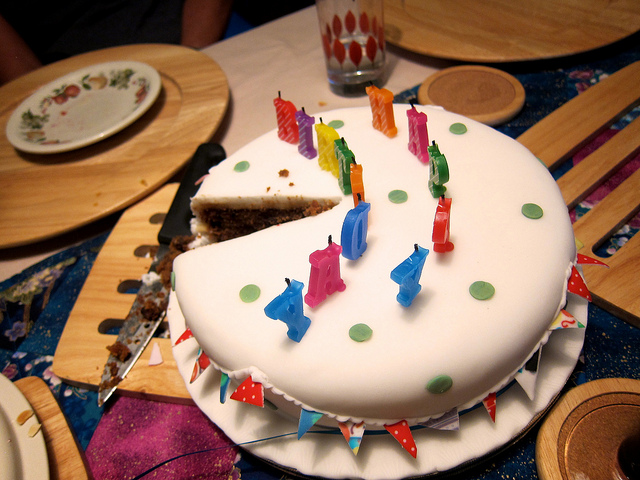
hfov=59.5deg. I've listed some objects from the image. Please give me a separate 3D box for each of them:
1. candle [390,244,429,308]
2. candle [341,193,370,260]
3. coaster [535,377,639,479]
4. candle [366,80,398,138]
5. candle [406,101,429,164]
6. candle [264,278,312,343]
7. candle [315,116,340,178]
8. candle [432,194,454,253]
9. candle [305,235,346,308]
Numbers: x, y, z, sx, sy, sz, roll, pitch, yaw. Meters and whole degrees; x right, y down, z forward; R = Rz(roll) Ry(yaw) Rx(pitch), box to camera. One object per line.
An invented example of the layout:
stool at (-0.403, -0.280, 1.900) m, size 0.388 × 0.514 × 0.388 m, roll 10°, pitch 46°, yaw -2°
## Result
candle at (0.301, 0.112, 1.945) m, size 0.096 × 0.121 × 0.193 m, roll 19°, pitch 68°, yaw 12°
candle at (0.134, -0.043, 2.095) m, size 0.049 × 0.235 × 0.150 m, roll 18°, pitch 41°, yaw 23°
coaster at (0.965, 0.681, 1.993) m, size 0.311 × 0.071 × 0.342 m, roll -7°, pitch 54°, yaw 13°
candle at (0.273, -0.580, 2.494) m, size 0.056 × 0.202 × 0.188 m, roll -25°, pitch 35°, yaw -8°
candle at (0.410, -0.447, 2.374) m, size 0.046 × 0.243 × 0.183 m, roll -18°, pitch 40°, yaw -1°
candle at (-0.093, 0.228, 1.910) m, size 0.133 × 0.170 × 0.157 m, roll 31°, pitch 70°, yaw 17°
candle at (0.028, -0.388, 2.400) m, size 0.035 × 0.278 × 0.168 m, roll -25°, pitch 47°, yaw -21°
candle at (0.449, -0.052, 2.059) m, size 0.064 × 0.184 × 0.127 m, roll 6°, pitch 37°, yaw 15°
candle at (0.020, 0.123, 2.011) m, size 0.121 × 0.136 × 0.233 m, roll -23°, pitch 55°, yaw -31°
